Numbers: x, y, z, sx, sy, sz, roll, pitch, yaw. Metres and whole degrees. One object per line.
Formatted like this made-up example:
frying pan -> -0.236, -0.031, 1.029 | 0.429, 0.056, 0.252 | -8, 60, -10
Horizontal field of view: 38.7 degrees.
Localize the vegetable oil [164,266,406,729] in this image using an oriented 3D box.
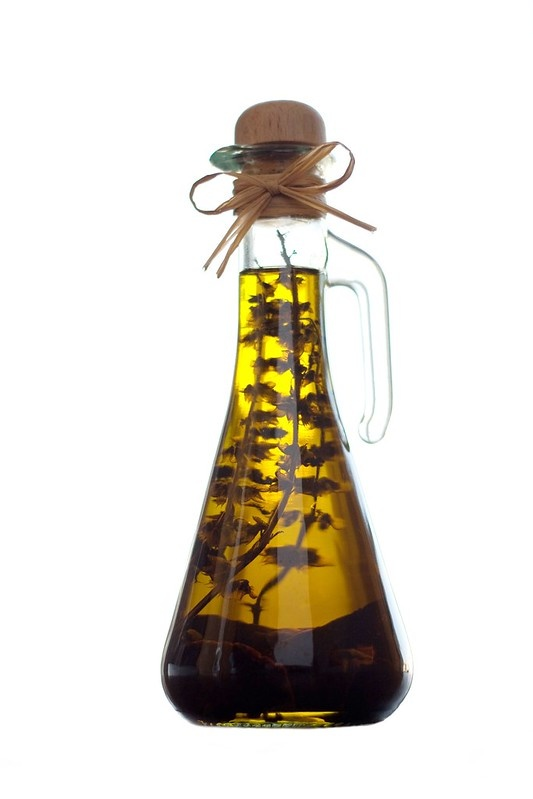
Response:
vegetable oil -> 0.021, 0.066, 0.590 | 0.165, 0.283, 0.248 | 2, -55, 3
